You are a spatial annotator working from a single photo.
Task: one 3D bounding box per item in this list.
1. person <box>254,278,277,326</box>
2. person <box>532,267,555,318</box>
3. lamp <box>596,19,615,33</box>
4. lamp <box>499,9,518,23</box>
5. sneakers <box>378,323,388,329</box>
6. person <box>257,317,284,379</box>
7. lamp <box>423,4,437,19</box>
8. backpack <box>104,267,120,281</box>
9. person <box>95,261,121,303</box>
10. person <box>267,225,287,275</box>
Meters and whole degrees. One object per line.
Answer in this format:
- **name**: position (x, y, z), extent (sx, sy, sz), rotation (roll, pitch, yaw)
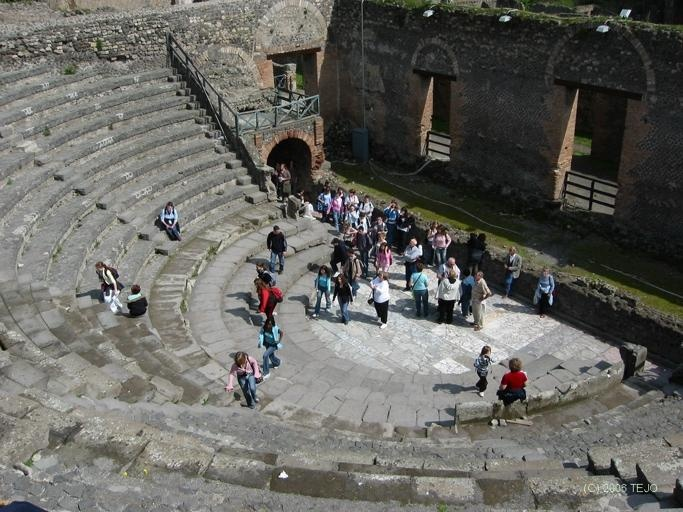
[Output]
- **person**: position (-1.558, 0.964, 12.930), extent (0.513, 1.214, 0.703), rotation (2, 40, -3)
- **person**: position (5.093, 0.915, 14.733), extent (0.473, 1.196, 0.536), rotation (10, 35, 19)
- **lamp**: position (7.650, -6.683, 17.154), extent (0.105, 0.348, 0.351), rotation (32, 56, 33)
- **lamp**: position (5.491, -7.855, 19.389), extent (0.567, 0.397, 0.370), rotation (6, 34, 13)
- **sneakers**: position (1.038, 1.675, 14.357), extent (0.177, 0.117, 0.144), rotation (-4, 33, -2)
- **person**: position (-1.463, 1.965, 12.217), extent (0.472, 1.189, 0.740), rotation (25, 54, 13)
- **lamp**: position (3.170, -8.721, 21.103), extent (0.425, 0.416, 0.437), rotation (2, 33, 7)
- **backpack**: position (-4.887, 0.387, 12.536), extent (0.218, 0.270, 0.216), rotation (-18, -5, 3)
- **person**: position (-4.897, 0.545, 12.571), extent (0.456, 0.985, 0.496), rotation (-19, 42, -26)
- **person**: position (-1.745, -0.213, 15.615), extent (0.554, 1.460, 0.533), rotation (-18, 36, -21)
